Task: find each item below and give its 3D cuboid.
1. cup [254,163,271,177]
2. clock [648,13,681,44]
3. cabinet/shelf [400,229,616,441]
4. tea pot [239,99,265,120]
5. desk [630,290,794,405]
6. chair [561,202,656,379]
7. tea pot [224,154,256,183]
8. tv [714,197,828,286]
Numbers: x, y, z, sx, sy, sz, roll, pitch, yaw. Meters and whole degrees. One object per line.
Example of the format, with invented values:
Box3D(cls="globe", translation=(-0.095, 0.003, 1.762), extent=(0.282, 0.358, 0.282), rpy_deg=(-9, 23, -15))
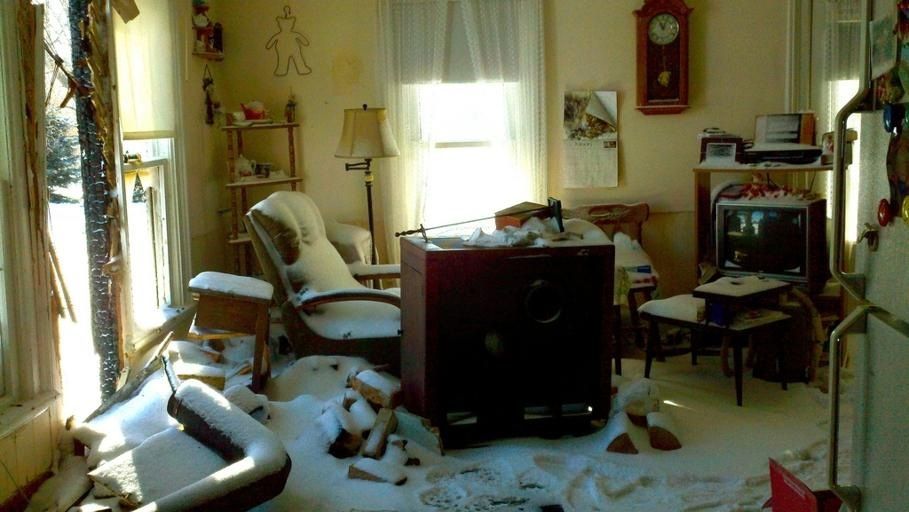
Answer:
Box3D(cls="cup", translation=(-1.802, -0.806, 6.768), extent=(0.145, 0.127, 0.197), rpy_deg=(-8, 11, -12))
Box3D(cls="clock", translation=(1.973, -2.145, 6.768), extent=(0.309, 0.298, 0.024), rpy_deg=(13, 30, 43))
Box3D(cls="cabinet/shelf", translation=(0.551, 0.599, 4.812), extent=(1.246, 1.123, 0.884), rpy_deg=(-4, -13, 22))
Box3D(cls="tea pot", translation=(-1.890, -1.364, 6.677), extent=(0.210, 0.184, 0.154), rpy_deg=(-7, 19, -20))
Box3D(cls="desk", translation=(1.940, 0.452, 5.344), extent=(0.826, 0.652, 0.982), rpy_deg=(-16, 17, -29))
Box3D(cls="chair", translation=(1.460, 0.245, 6.659), extent=(0.851, 1.299, 0.884), rpy_deg=(0, 20, 22))
Box3D(cls="tea pot", translation=(-1.962, -0.790, 6.590), extent=(0.210, 0.267, 0.099), rpy_deg=(-7, -9, -17))
Box3D(cls="tv", translation=(2.735, -0.116, 6.101), extent=(0.485, 0.714, 0.838), rpy_deg=(-4, 7, -35))
